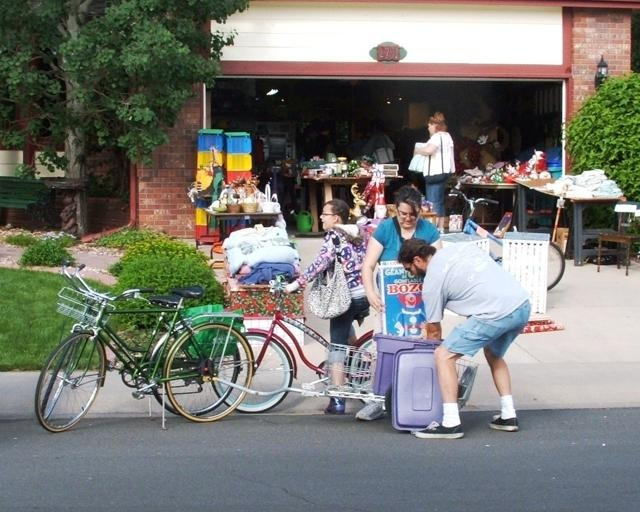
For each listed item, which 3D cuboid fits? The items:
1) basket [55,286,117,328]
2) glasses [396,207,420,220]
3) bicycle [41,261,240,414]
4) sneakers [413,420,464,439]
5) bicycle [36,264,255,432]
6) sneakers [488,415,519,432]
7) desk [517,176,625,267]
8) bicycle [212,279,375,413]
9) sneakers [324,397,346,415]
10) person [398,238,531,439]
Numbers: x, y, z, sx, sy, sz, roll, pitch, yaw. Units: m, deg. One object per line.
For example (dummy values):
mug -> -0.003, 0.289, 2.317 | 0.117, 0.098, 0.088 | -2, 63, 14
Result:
basket -> -1.944, 0.415, 7.106 | 0.436, 0.313, 0.334 | 0, 3, -1
glasses -> 0.767, -0.383, 7.488 | 0.193, 0.141, 0.238 | 1, 3, 5
bicycle -> -1.513, 0.787, 7.748 | 2.083, 1.303, 0.944 | 2, 7, -12
sneakers -> 0.973, 1.423, 7.012 | 0.394, 0.135, 0.142 | 2, -8, 6
bicycle -> -1.523, 0.755, 7.805 | 2.300, 1.435, 1.004 | 2, 7, -12
sneakers -> 1.537, 1.405, 7.221 | 0.105, 0.106, 0.250 | 1, 1, -23
desk -> 4.306, -0.808, 15.528 | 1.032, 1.209, 3.304 | 11, -4, -14
bicycle -> -0.046, 0.823, 7.687 | 1.896, 1.136, 0.839 | 2, -21, -13
sneakers -> 0.137, 1.356, 7.790 | 0.107, 0.182, 0.268 | 1, 3, -21
person -> 1.255, 0.690, 6.972 | 0.835, 1.592, 0.460 | -2, 4, -32
